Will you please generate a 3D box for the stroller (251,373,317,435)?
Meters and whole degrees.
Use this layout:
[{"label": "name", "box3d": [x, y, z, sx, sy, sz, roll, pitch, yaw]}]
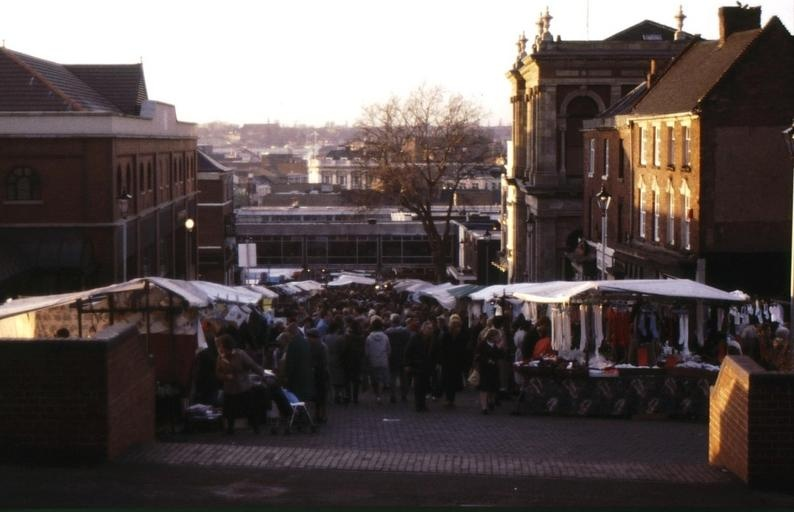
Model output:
[{"label": "stroller", "box3d": [-2.754, 3.490, 27.355, 1.138, 1.627, 1.046, -1, 1, -11]}]
